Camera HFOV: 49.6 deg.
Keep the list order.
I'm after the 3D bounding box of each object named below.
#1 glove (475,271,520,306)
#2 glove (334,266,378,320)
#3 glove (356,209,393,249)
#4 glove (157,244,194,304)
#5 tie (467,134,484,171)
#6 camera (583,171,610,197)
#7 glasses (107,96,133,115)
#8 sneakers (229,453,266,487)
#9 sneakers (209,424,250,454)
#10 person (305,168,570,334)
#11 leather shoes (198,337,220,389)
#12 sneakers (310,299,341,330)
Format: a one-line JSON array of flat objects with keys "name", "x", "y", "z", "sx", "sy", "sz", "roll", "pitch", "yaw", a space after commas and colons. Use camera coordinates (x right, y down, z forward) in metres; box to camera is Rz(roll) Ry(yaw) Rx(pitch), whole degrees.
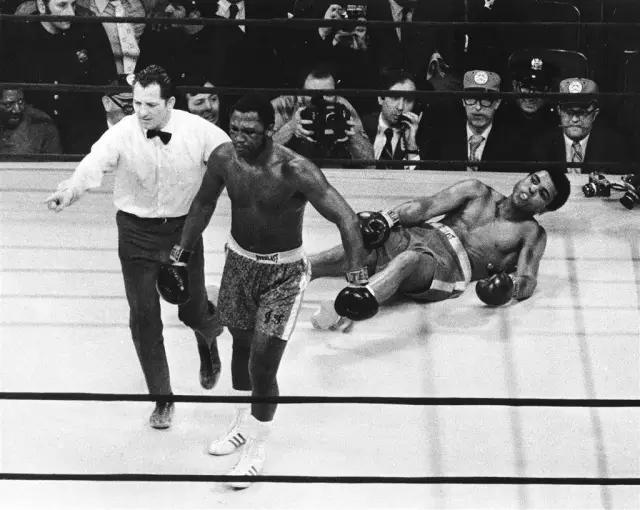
[{"name": "glove", "x": 0.722, "y": 0.134, "z": 2.808, "sx": 0.136, "sy": 0.108, "sz": 0.155, "roll": -18, "pitch": 3, "yaw": 12}, {"name": "glove", "x": 0.121, "y": 0.124, "z": 2.268, "sx": 0.133, "sy": 0.159, "sz": 0.063, "roll": 11, "pitch": 5, "yaw": 25}, {"name": "glove", "x": 0.233, "y": -0.106, "z": 2.898, "sx": 0.136, "sy": 0.164, "sz": 0.066, "roll": 4, "pitch": 36, "yaw": 9}, {"name": "glove", "x": -0.526, "y": 0.060, "z": 2.446, "sx": 0.097, "sy": 0.090, "sz": 0.231, "roll": 9, "pitch": 36, "yaw": -31}, {"name": "tie", "x": 0.833, "y": -0.549, "z": 3.662, "sx": 0.115, "sy": 0.165, "sz": 0.046, "roll": 0, "pitch": 0, "yaw": 1}, {"name": "camera", "x": 1.389, "y": -0.343, "z": 3.468, "sx": 0.123, "sy": 0.093, "sz": 0.160, "roll": -10, "pitch": 21, "yaw": -15}, {"name": "glasses", "x": -0.994, "y": -0.774, "z": 3.564, "sx": 0.173, "sy": 0.092, "sz": 0.122, "roll": -3, "pitch": 23, "yaw": -11}, {"name": "sneakers", "x": -0.240, "y": 0.720, "z": 2.341, "sx": 0.061, "sy": 0.064, "sz": 0.164, "roll": 10, "pitch": 23, "yaw": 24}, {"name": "sneakers", "x": -0.314, "y": 0.655, "z": 2.497, "sx": 0.065, "sy": 0.065, "sz": 0.168, "roll": 36, "pitch": 35, "yaw": 19}, {"name": "person", "x": 0.531, "y": -0.044, "z": 3.033, "sx": 1.141, "sy": 0.403, "sz": 0.611, "roll": -12, "pitch": 44, "yaw": -25}, {"name": "leather shoes", "x": -0.430, "y": 0.422, "z": 2.680, "sx": 0.075, "sy": 0.141, "sz": 0.200, "roll": -8, "pitch": 46, "yaw": 7}, {"name": "sneakers", "x": 0.016, "y": 0.241, "z": 2.799, "sx": 0.086, "sy": 0.060, "sz": 0.140, "roll": 0, "pitch": 28, "yaw": 2}]
